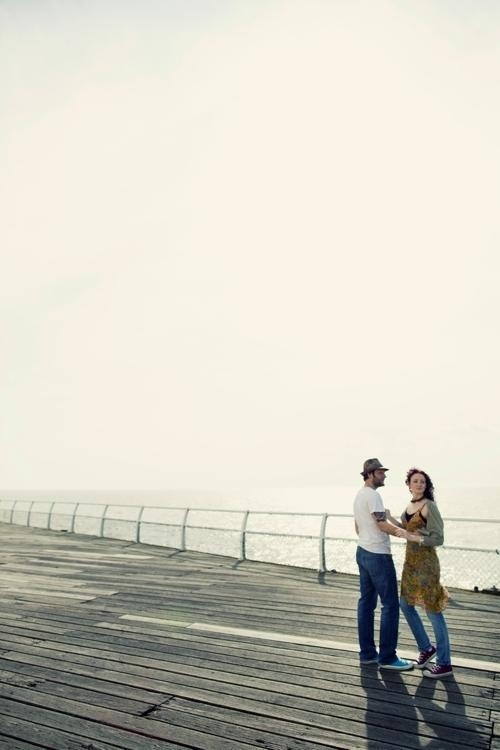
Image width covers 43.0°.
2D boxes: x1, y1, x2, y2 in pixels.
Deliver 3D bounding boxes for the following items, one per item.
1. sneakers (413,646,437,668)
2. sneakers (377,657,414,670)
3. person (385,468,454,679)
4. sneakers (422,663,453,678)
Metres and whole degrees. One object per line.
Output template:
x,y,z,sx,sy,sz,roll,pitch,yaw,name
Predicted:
1.351,2.134,4.847,0.255,0.100,0.083,-22,-2,-45,sneakers
1.090,2.136,4.749,0.239,0.104,0.099,0,-4,-1,sneakers
1.332,1.467,5.034,0.420,1.674,1.253,-4,-32,14,person
1.351,2.122,4.614,0.257,0.114,0.092,4,-9,-7,sneakers
